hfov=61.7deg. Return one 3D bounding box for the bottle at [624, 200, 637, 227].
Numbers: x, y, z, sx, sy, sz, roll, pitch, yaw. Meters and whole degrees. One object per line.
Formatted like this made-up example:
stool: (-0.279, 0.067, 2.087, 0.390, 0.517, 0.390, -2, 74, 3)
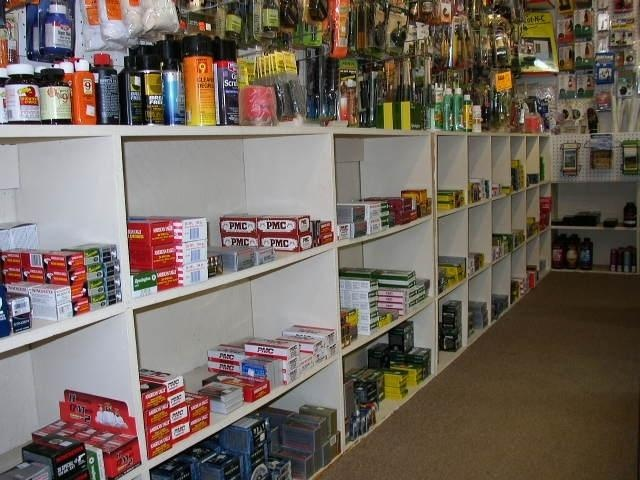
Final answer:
bottle: (3.951, -0.324, 6.836, 0.134, 0.279, 0.344, 1, 9, 27)
